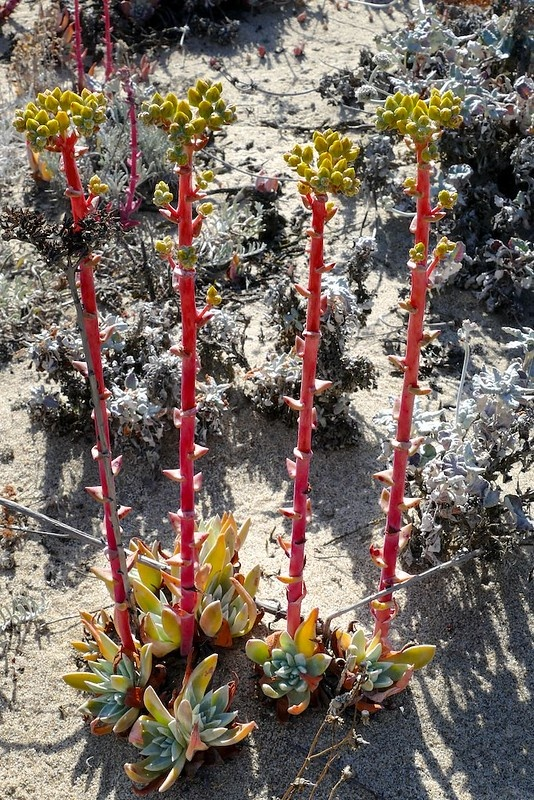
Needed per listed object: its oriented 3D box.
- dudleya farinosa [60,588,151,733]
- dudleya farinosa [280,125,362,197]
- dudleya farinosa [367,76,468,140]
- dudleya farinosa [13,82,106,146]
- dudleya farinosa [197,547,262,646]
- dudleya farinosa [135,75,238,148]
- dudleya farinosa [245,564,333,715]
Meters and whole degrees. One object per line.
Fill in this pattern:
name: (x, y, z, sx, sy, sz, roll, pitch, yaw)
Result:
dudleya farinosa: (-0.590, 0.881, 3.064, 0.210, 0.283, 0.381, 27, 29, -34)
dudleya farinosa: (0.195, -0.629, 2.593, 0.259, 0.112, 0.191, -2, 67, 14)
dudleya farinosa: (0.436, -0.803, 2.590, 0.203, 0.143, 0.265, 23, 31, 39)
dudleya farinosa: (-0.574, -0.793, 2.563, 0.247, 0.160, 0.413, 0, 23, -3)
dudleya farinosa: (-0.136, 0.696, 3.261, 0.243, 0.161, 0.275, -2, 21, -12)
dudleya farinosa: (-0.197, -0.780, 2.494, 0.167, 0.162, 0.268, 21, 30, 36)
dudleya farinosa: (0.079, 0.872, 3.110, 0.267, 0.443, 0.281, 16, 28, 28)
